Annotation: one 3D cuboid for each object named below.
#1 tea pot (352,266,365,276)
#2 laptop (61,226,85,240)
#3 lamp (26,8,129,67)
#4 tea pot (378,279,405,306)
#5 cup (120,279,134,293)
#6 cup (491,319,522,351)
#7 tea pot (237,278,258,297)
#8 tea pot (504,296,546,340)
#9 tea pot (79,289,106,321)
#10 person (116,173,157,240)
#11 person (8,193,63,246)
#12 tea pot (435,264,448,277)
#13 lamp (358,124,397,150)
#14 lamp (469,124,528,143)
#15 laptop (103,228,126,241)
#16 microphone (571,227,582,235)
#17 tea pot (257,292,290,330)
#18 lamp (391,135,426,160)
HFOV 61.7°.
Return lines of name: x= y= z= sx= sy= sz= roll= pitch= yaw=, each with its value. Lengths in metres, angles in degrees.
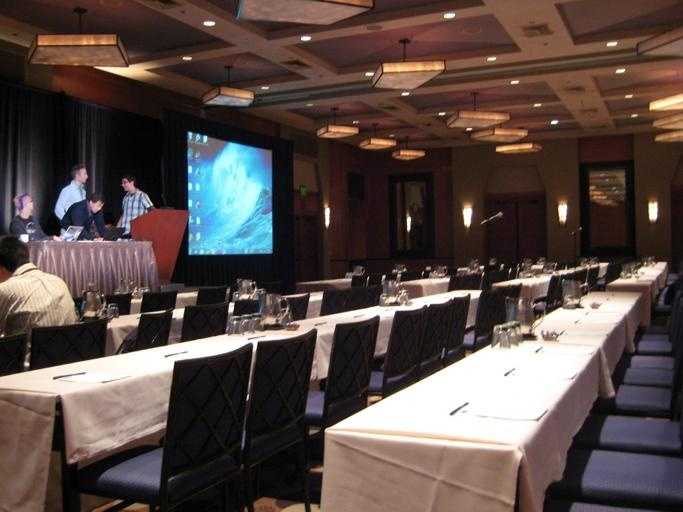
tea pot: x=0.255 y=0.218 z=8.701 sx=0.115 sy=0.200 sz=0.199 roll=0 pitch=-4 yaw=16
laptop: x=-3.617 y=-0.309 z=7.702 sx=0.197 sy=0.193 sz=0.231 roll=2 pitch=32 yaw=8
lamp: x=-3.520 y=-2.764 z=7.795 sx=0.779 sy=0.577 sz=0.854 roll=0 pitch=0 yaw=13
tea pot: x=0.459 y=0.354 z=5.591 sx=0.250 sy=0.284 sz=0.178 roll=-2 pitch=2 yaw=-16
cup: x=-2.311 y=0.319 z=6.157 sx=0.125 sy=0.163 sz=0.136 roll=-1 pitch=-3 yaw=0
cup: x=1.003 y=0.478 z=3.483 sx=0.144 sy=0.152 sz=0.161 roll=-8 pitch=-7 yaw=43
tea pot: x=-0.931 y=0.313 z=5.707 sx=0.223 sy=0.240 sz=0.135 roll=2 pitch=-4 yaw=-23
tea pot: x=1.160 y=0.394 z=3.712 sx=0.220 sy=0.341 sz=0.231 roll=-1 pitch=0 yaw=0
tea pot: x=-1.996 y=0.382 z=4.511 sx=0.266 sy=0.315 sz=0.165 roll=1 pitch=2 yaw=-21
person: x=-3.637 y=-0.858 z=10.031 sx=0.538 sy=1.090 sz=2.883 roll=-1 pitch=4 yaw=-21
person: x=-4.524 y=-0.478 z=8.460 sx=0.665 sy=0.840 sz=0.587 roll=4 pitch=11 yaw=19
tea pot: x=1.887 y=0.270 z=10.733 sx=0.186 sy=0.229 sz=0.191 roll=-1 pitch=6 yaw=0
lamp: x=0.925 y=-3.211 z=15.097 sx=0.748 sy=0.653 sz=0.813 roll=0 pitch=-5 yaw=-7
lamp: x=3.892 y=-3.050 z=14.112 sx=0.836 sy=0.219 sz=0.781 roll=3 pitch=-3 yaw=-35
laptop: x=-3.217 y=-0.312 z=8.062 sx=0.143 sy=0.151 sz=0.211 roll=28 pitch=7 yaw=18
microphone: x=6.794 y=-0.741 z=16.496 sx=0.293 sy=0.084 sz=0.080 roll=-33 pitch=29 yaw=-19
tea pot: x=-0.486 y=0.403 z=4.186 sx=0.162 sy=0.280 sz=0.254 roll=3 pitch=-4 yaw=-43
lamp: x=1.919 y=-3.243 z=16.374 sx=0.770 sy=0.638 sz=0.809 roll=2 pitch=-3 yaw=-24
